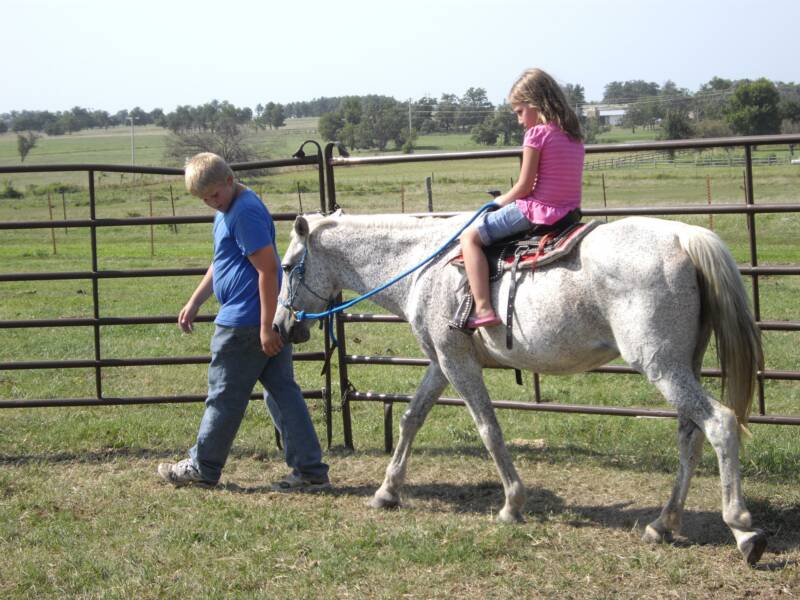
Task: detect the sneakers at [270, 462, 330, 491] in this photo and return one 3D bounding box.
[{"bbox_3d":[-0.863,1.485,8.165,0.576,0.262,0.187,3,2,-1],"label":"sneakers"}]
